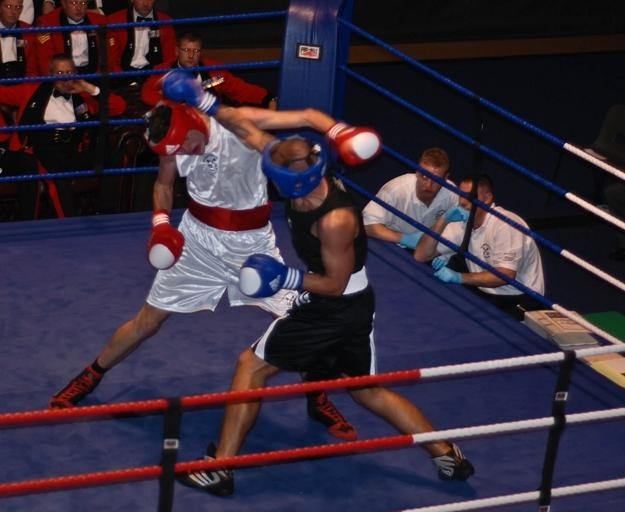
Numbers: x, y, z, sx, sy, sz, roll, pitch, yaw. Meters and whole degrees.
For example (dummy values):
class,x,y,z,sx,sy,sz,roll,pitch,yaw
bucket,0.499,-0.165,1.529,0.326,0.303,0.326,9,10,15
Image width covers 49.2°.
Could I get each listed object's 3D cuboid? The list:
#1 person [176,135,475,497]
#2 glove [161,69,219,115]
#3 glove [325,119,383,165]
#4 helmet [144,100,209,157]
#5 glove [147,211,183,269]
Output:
class,x,y,z,sx,sy,sz,roll,pitch,yaw
person,0.068,0.234,2.495,0.988,1.296,0.441,4,22,-9
glove,-0.459,-0.611,2.573,0.238,0.119,0.084,17,-20,-23
glove,0.148,-0.404,2.542,0.200,0.164,0.244,6,18,0
helmet,-0.501,-0.470,2.514,0.179,0.174,0.263,9,18,6
glove,-0.555,-0.056,2.644,0.142,0.094,0.234,-15,31,-2
